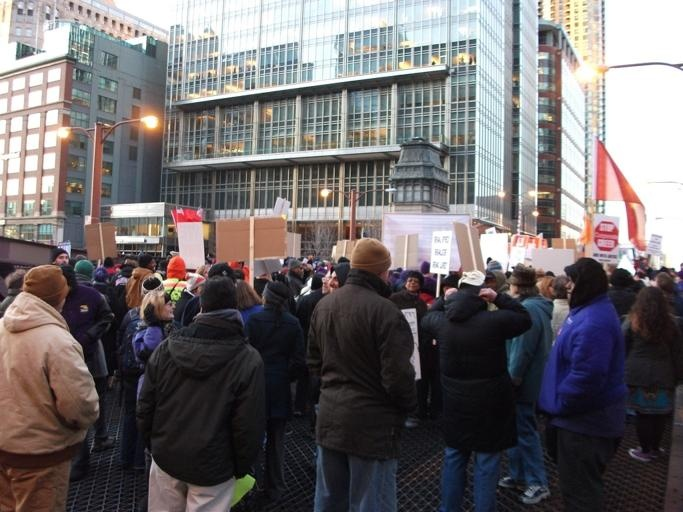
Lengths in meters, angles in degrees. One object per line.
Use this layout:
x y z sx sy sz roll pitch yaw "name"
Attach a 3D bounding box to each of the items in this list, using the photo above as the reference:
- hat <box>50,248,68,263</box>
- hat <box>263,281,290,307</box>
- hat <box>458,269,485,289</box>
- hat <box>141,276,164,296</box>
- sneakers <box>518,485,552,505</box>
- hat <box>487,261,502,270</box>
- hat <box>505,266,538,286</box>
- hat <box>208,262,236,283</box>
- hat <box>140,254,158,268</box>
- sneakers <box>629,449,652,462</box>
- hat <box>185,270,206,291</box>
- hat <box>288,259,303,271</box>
-4.624 0.016 9.779 0.279 0.287 0.216 -16 -17 32 "hat"
-0.781 0.453 7.150 0.305 0.310 0.256 0 -1 -7 "hat"
1.435 0.247 6.463 0.183 0.129 0.281 -4 -5 23 "hat"
-2.306 0.387 7.225 0.213 0.120 0.312 -1 9 -10 "hat"
2.291 2.802 7.039 0.384 0.202 0.155 -4 -5 -20 "sneakers"
2.997 0.189 11.730 0.313 0.185 0.536 -1 -6 9 "hat"
2.239 0.247 7.510 0.240 0.150 0.303 2 7 -7 "hat"
-1.584 0.188 7.651 0.311 0.254 0.432 5 -17 -1 "hat"
-3.107 0.078 9.444 0.159 0.206 0.205 14 21 36 "hat"
4.115 2.752 8.213 0.246 0.112 0.123 9 6 39 "sneakers"
-2.017 0.344 8.144 0.136 0.199 0.162 13 -34 19 "hat"
-0.948 0.191 12.062 0.251 0.239 0.196 -10 13 -29 "hat"
